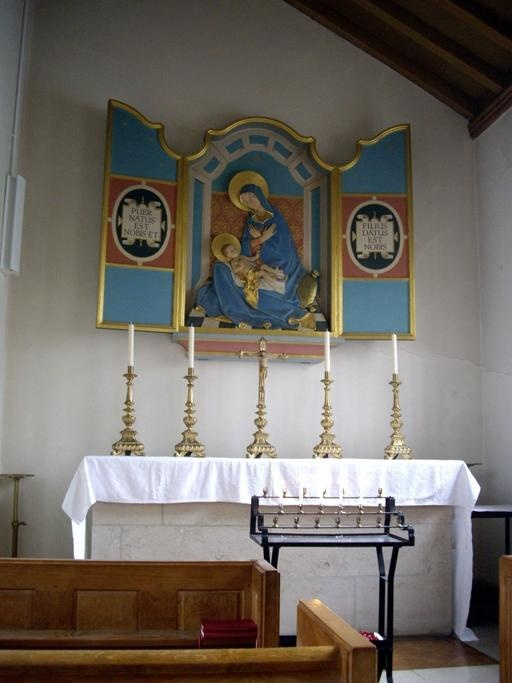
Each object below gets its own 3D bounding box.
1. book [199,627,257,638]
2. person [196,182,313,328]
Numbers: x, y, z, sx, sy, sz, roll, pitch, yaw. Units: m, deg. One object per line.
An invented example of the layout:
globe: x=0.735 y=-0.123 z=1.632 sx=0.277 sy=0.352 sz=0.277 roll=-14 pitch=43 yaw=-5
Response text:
book: x=-0.082 y=0.833 z=2.339 sx=0.156 sy=0.026 sz=0.048 roll=2 pitch=-3 yaw=0
person: x=-0.004 y=-0.444 z=5.497 sx=1.025 sy=1.186 sz=0.810 roll=1 pitch=-5 yaw=0
